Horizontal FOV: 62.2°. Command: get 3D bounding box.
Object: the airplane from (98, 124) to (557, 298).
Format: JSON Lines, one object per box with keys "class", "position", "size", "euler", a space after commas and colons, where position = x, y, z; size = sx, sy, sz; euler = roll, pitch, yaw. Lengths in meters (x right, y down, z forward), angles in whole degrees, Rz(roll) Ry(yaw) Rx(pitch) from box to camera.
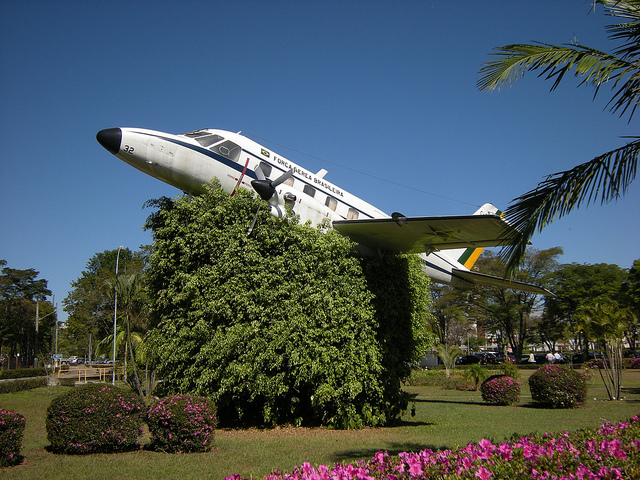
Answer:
{"class": "airplane", "position": [0.495, -1.285, 21.502], "size": [17.850, 7.277, 7.977], "euler": [5, -16, -24]}
